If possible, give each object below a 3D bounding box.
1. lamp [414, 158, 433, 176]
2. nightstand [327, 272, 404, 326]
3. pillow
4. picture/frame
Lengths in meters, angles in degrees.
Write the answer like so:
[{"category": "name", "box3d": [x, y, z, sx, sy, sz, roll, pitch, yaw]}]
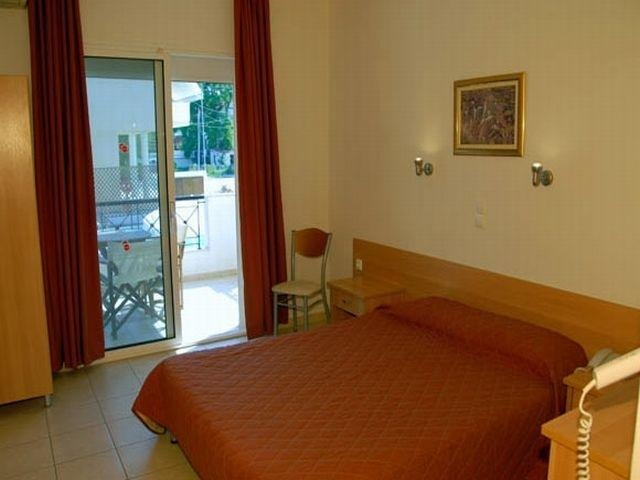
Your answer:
[{"category": "lamp", "box3d": [0.833, -0.589, 4.199, 0.138, 0.176, 0.127, -5, 6, -32]}, {"category": "nightstand", "box3d": [0.375, 0.452, 4.487, 0.366, 0.482, 0.476, -6, 10, -34]}, {"category": "pillow", "box3d": [1.137, 0.664, 3.477, 0.917, 0.302, 0.510, 20, 25, 41]}, {"category": "picture/frame", "box3d": [1.201, -0.894, 3.648, 0.043, 0.616, 0.591, -4, 7, -39]}]
